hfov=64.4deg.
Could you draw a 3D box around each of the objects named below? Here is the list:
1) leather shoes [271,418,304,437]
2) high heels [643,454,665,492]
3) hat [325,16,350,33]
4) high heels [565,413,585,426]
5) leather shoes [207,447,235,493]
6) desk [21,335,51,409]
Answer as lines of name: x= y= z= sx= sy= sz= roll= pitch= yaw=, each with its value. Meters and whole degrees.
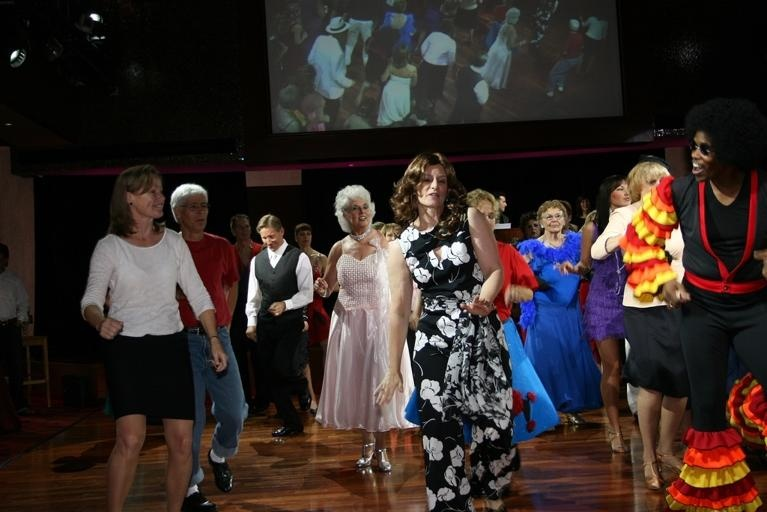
leather shoes: x=-0.989 y=1.756 z=6.277 sx=0.331 sy=0.177 sz=0.154 roll=6 pitch=-9 yaw=-27
high heels: x=1.992 y=1.604 z=4.480 sx=0.095 sy=0.120 sz=0.289 roll=-12 pitch=0 yaw=11
hat: x=-0.638 y=-3.224 z=8.555 sx=0.240 sy=0.246 sz=0.093 roll=12 pitch=-18 yaw=11
high heels: x=1.897 y=1.617 z=6.063 sx=0.100 sy=0.103 sz=0.229 roll=3 pitch=-10 yaw=-30
leather shoes: x=-1.285 y=1.712 z=4.831 sx=0.150 sy=0.399 sz=0.164 roll=-22 pitch=0 yaw=-26
desk: x=-4.973 y=1.541 z=8.412 sx=0.518 sy=0.850 sz=0.598 roll=4 pitch=-5 yaw=-44
